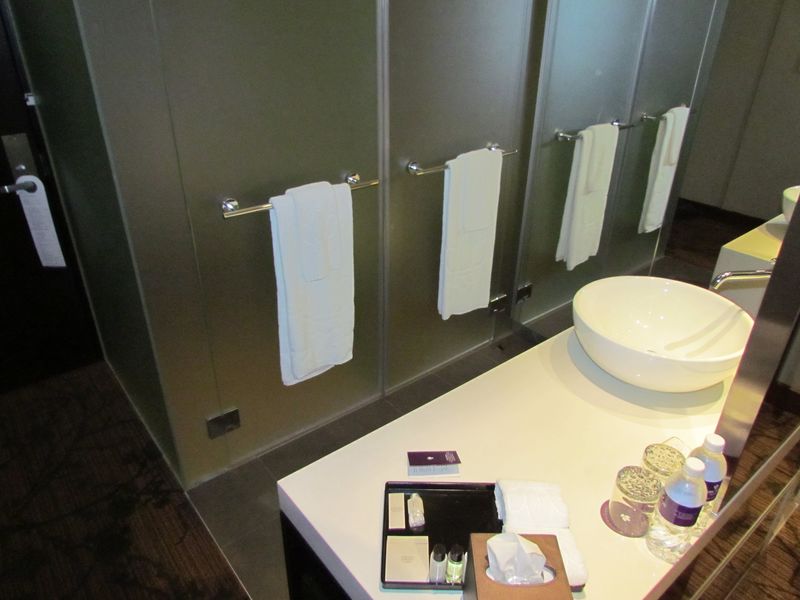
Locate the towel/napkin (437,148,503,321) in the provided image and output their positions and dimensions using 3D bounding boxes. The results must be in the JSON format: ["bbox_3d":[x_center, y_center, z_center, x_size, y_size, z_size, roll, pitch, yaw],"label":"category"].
[{"bbox_3d":[0.303,-0.311,2.961,0.334,0.811,0.114,-10,25,-31],"label":"towel/napkin"}]

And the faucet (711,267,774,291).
[{"bbox_3d":[0.954,-0.059,1.736,0.142,0.058,0.027,-9,45,-15],"label":"faucet"}]

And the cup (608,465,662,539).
[{"bbox_3d":[0.565,0.497,1.570,0.113,0.157,0.143,8,36,13],"label":"cup"}]

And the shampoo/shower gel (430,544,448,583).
[{"bbox_3d":[0.088,0.597,1.415,0.051,0.100,0.049,-2,32,-3],"label":"shampoo/shower gel"}]

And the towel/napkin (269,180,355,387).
[{"bbox_3d":[-0.335,-0.054,2.543,0.395,0.835,0.091,-16,28,-40],"label":"towel/napkin"}]

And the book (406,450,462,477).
[{"bbox_3d":[0.088,0.422,1.616,0.088,0.031,0.070,-1,35,-3],"label":"book"}]

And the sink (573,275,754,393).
[{"bbox_3d":[0.807,0.105,1.895,0.368,0.161,0.376,-25,40,-25],"label":"sink"}]

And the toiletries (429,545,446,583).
[{"bbox_3d":[0.087,0.597,1.418,0.038,0.077,0.042,3,21,-1],"label":"toiletries"}]

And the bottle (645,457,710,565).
[{"bbox_3d":[0.669,0.479,1.492,0.096,0.253,0.105,1,31,0],"label":"bottle"}]
